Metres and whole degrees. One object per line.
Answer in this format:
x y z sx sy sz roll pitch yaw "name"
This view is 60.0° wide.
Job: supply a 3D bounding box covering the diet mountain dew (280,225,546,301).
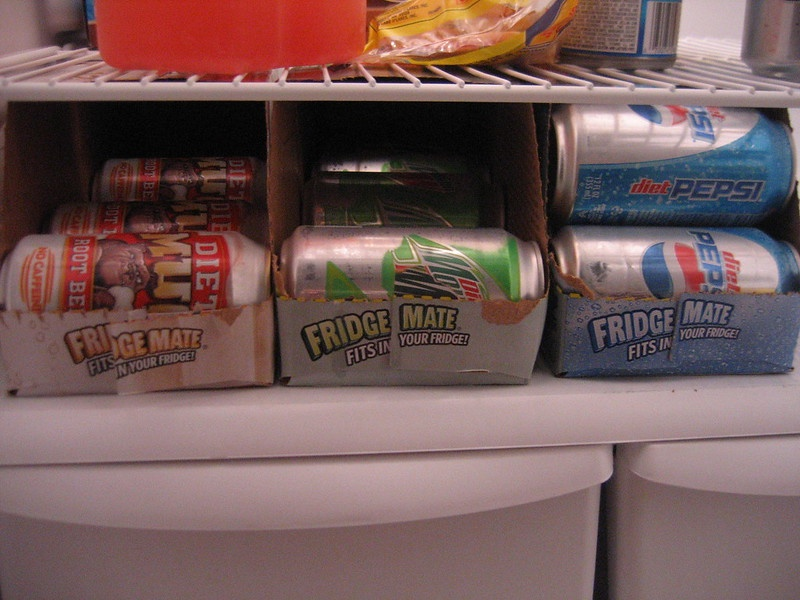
0.016 -0.043 0.998 0.421 0.123 0.127 1 -9 -4 "diet mountain dew"
